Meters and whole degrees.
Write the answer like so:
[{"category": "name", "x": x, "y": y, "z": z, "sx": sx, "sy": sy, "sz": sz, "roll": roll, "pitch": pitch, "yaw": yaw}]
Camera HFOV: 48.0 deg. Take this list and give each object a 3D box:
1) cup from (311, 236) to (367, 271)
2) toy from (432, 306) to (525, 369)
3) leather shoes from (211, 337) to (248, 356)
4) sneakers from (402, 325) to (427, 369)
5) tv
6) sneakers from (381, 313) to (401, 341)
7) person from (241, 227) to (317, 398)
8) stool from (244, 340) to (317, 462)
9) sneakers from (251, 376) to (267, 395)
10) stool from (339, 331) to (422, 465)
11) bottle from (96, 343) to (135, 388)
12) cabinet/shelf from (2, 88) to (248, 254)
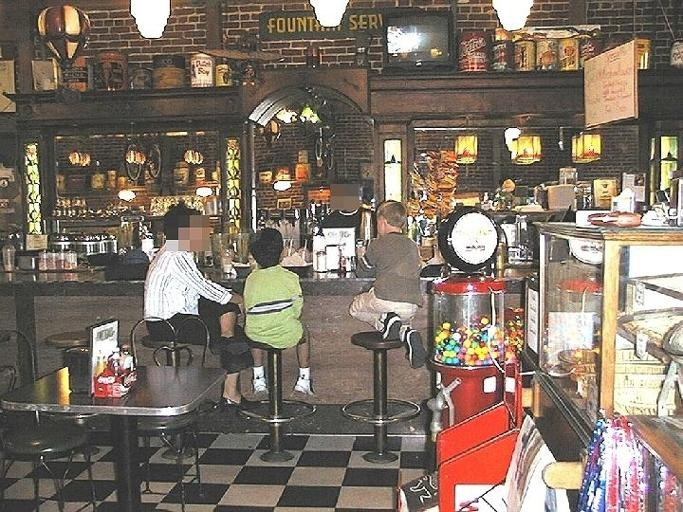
[{"category": "cup", "x": -0.025, "y": 0.014, "z": 6.230, "sx": 0.471, "sy": 0.339, "sz": 0.253, "roll": 0, "pitch": 0, "yaw": -3}, {"category": "toy", "x": 0.840, "y": 0.467, "z": 4.736, "sx": 0.517, "sy": 0.359, "sz": 0.371, "roll": 1, "pitch": 4, "yaw": 15}, {"category": "leather shoes", "x": -0.788, "y": 0.653, "z": 5.523, "sx": 0.218, "sy": 0.092, "sz": 0.120, "roll": -1, "pitch": 5, "yaw": 6}, {"category": "sneakers", "x": 0.516, "y": 0.657, "z": 5.561, "sx": 0.158, "sy": 0.302, "sz": 0.130, "roll": -9, "pitch": 11, "yaw": -21}, {"category": "tv", "x": 0.735, "y": -1.906, "z": 7.308, "sx": 0.769, "sy": 0.609, "sz": 0.440, "roll": 1, "pitch": 9, "yaw": 7}, {"category": "sneakers", "x": 0.346, "y": 0.505, "z": 5.476, "sx": 0.102, "sy": 0.194, "sz": 0.120, "roll": 4, "pitch": 8, "yaw": -12}, {"category": "person", "x": -0.476, "y": 0.473, "z": 5.670, "sx": 0.479, "sy": 1.391, "sz": 0.550, "roll": 2, "pitch": 13, "yaw": 9}, {"category": "stool", "x": -0.462, "y": 1.089, "z": 5.831, "sx": 0.756, "sy": 1.015, "sz": 0.737, "roll": 0, "pitch": 1, "yaw": -5}, {"category": "sneakers", "x": -0.616, "y": 1.001, "z": 5.895, "sx": 0.125, "sy": 0.132, "sz": 0.126, "roll": -1, "pitch": -1, "yaw": 12}, {"category": "stool", "x": 0.293, "y": 0.999, "z": 5.699, "sx": 0.581, "sy": 0.932, "sz": 0.595, "roll": 1, "pitch": 13, "yaw": 6}, {"category": "bottle", "x": -1.238, "y": 0.628, "z": 4.285, "sx": 0.168, "sy": 0.208, "sz": 0.220, "roll": 2, "pitch": 14, "yaw": 11}, {"category": "cabinet/shelf", "x": -2.682, "y": -1.028, "z": 9.249, "sx": 1.934, "sy": 1.622, "sz": 0.676, "roll": -1, "pitch": 3, "yaw": -5}]
